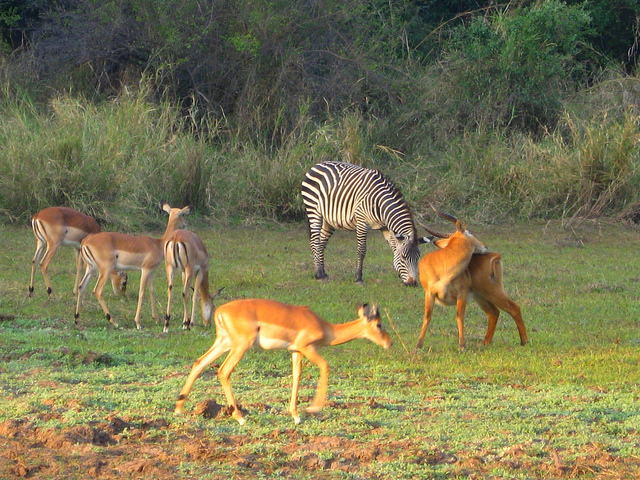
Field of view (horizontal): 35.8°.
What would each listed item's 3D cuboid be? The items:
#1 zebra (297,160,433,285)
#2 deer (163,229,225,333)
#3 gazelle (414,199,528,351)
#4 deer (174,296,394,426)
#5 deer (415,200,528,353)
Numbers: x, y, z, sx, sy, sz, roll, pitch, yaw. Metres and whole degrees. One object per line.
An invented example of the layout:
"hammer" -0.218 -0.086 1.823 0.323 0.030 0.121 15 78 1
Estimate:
"zebra" 0.788 -0.250 20.142 3.204 2.404 0.845 11 8 40
"deer" -2.125 0.413 16.310 0.840 1.916 0.914 -2 12 -23
"gazelle" 2.270 0.560 15.168 1.527 2.302 1.101 -8 13 -39
"deer" -0.460 1.516 13.064 2.646 2.220 0.707 5 24 -10
"deer" 2.266 0.569 15.293 1.451 2.476 1.281 -5 9 -38
